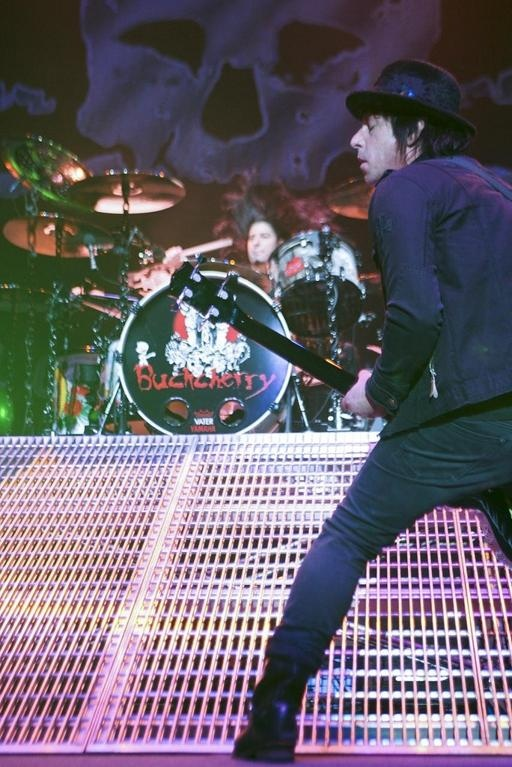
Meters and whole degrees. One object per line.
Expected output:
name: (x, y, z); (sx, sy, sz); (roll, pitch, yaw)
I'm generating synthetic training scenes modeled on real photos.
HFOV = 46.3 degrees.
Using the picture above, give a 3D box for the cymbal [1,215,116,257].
cymbal: (-1.479, -1.099, 4.444); (0.450, 0.063, 0.460); (-13, -27, 37)

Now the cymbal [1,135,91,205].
cymbal: (-1.465, -1.510, 4.271); (0.583, 0.452, 0.155); (31, -9, -38)
